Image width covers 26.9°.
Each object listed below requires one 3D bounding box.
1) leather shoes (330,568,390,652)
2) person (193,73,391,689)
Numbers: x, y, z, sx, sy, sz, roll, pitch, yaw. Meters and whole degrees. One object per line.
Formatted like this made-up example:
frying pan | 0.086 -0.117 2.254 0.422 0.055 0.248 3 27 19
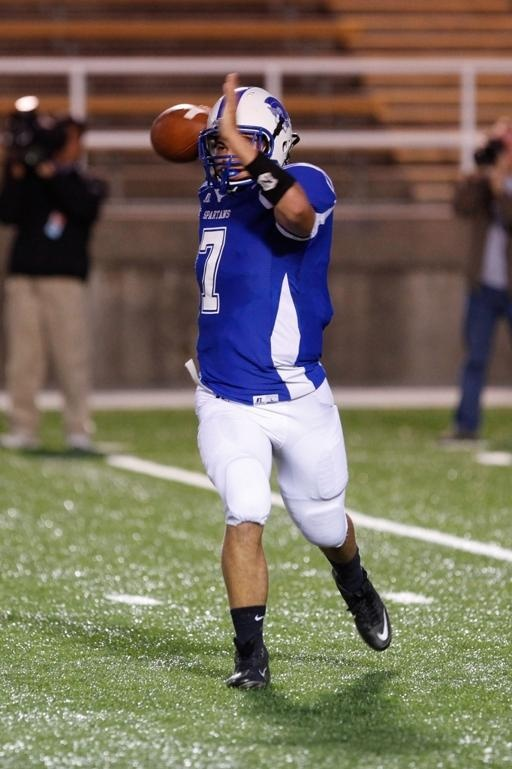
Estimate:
leather shoes | 0.251 0.497 2.465 0.085 0.092 0.254 -26 36 0
person | 0.067 0.019 2.448 0.428 1.312 1.001 -1 -5 6
